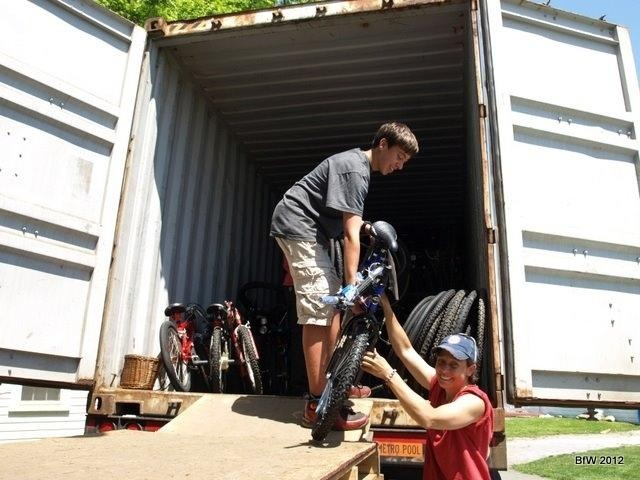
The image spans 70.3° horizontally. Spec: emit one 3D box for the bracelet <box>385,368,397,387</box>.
[{"bbox_3d":[0.399,0.763,2.537,0.030,0.066,0.081,6,-2,-11],"label":"bracelet"}]

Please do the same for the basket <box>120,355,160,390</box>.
[{"bbox_3d":[-1.677,1.253,4.286,0.302,0.256,0.297,11,-16,16],"label":"basket"}]

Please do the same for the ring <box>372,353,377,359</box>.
[{"bbox_3d":[0.323,0.691,2.717,0.021,0.006,0.023,12,13,29],"label":"ring"}]

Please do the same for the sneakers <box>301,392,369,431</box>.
[{"bbox_3d":[0.118,1.061,2.843,0.492,0.265,0.187,-1,-18,20],"label":"sneakers"}]

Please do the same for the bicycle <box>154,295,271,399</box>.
[{"bbox_3d":[-1.156,1.202,5.135,0.720,0.840,1.377,-18,-21,4],"label":"bicycle"}]

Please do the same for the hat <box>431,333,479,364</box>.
[{"bbox_3d":[0.800,0.622,2.688,0.226,0.128,0.156,36,-16,-36],"label":"hat"}]
